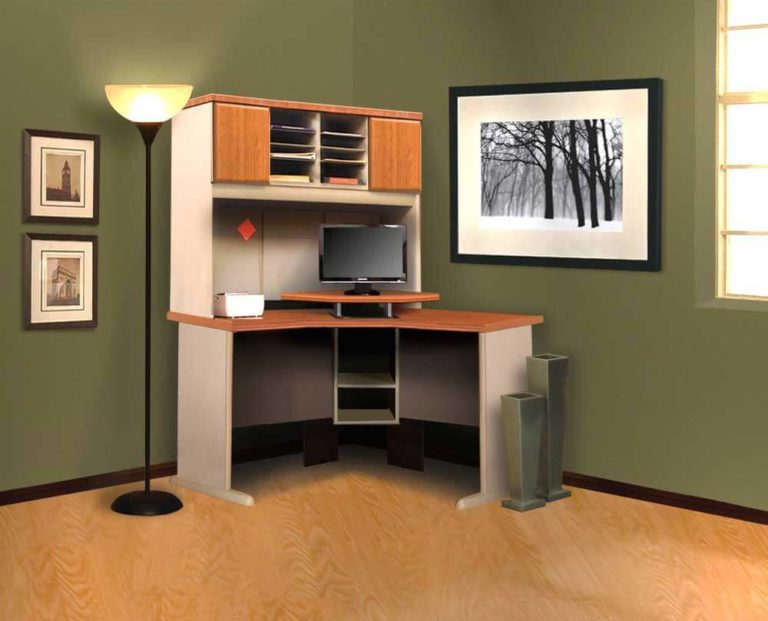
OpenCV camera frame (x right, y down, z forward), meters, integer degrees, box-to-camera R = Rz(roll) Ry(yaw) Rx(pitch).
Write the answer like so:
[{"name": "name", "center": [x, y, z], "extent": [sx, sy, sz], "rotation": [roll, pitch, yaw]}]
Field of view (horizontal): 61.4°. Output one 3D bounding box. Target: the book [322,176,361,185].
[{"name": "book", "center": [-0.269, -0.834, 4.173], "extent": [0.111, 0.028, 0.115], "rotation": [2, 4, 24]}]

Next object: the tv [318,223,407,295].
[{"name": "tv", "center": [-0.139, -0.332, 4.204], "extent": [0.567, 0.443, 0.237], "rotation": [0, 5, -6]}]
